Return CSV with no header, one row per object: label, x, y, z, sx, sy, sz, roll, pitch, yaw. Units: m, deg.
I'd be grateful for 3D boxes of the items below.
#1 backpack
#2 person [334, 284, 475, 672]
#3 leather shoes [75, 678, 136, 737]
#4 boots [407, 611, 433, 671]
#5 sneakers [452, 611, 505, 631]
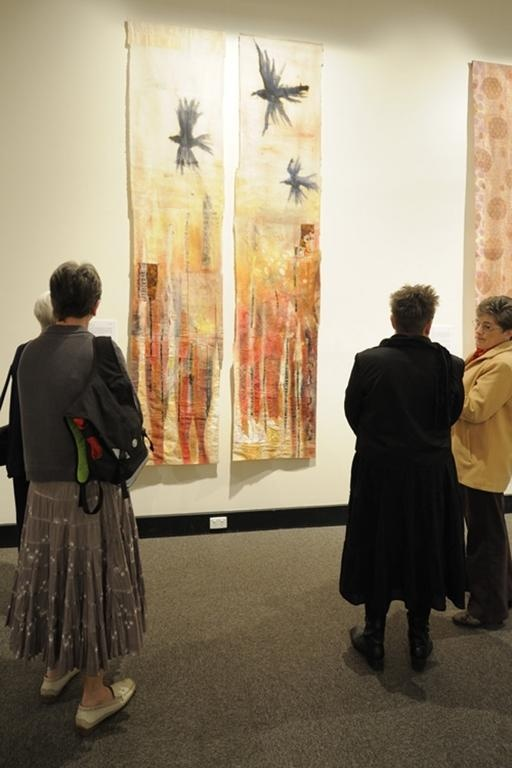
backpack,-0.492,0.077,2.241,0.240,0.457,0.454,-4,24,-12
person,0.560,0.242,2.547,0.456,1.200,0.287,2,8,6
leather shoes,-0.492,1.067,2.276,0.077,0.071,0.185,12,23,26
boots,0.647,0.962,2.665,0.057,0.137,0.194,-3,28,8
sneakers,0.960,0.983,2.898,0.172,0.068,0.089,8,8,29
